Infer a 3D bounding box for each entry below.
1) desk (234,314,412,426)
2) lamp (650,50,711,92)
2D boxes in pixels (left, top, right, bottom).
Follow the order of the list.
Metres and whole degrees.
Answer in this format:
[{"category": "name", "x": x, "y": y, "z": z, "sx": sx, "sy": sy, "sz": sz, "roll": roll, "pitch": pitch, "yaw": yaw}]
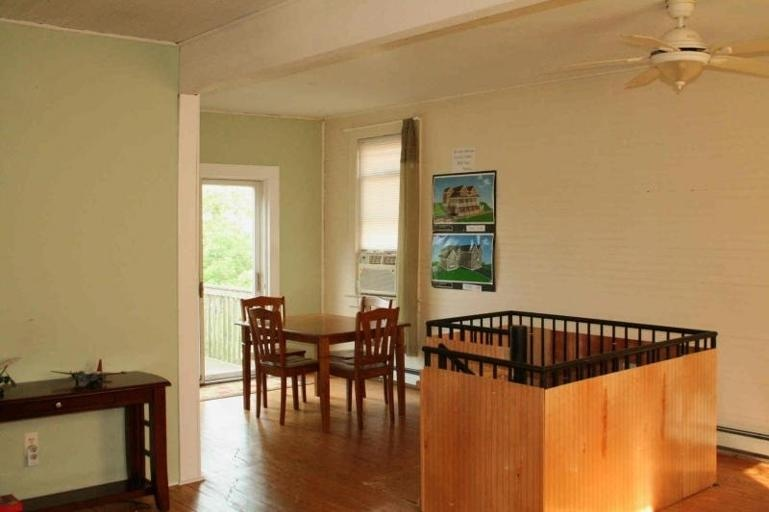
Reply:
[{"category": "desk", "x": -0.665, "y": 0.906, "z": 6.845, "sx": 1.216, "sy": 1.023, "sz": 1.519, "roll": -3, "pitch": 4, "yaw": -42}, {"category": "lamp", "x": 1.928, "y": -1.215, "z": 4.040, "sx": 0.375, "sy": 0.211, "sz": 0.259, "roll": 0, "pitch": 5, "yaw": 12}]
